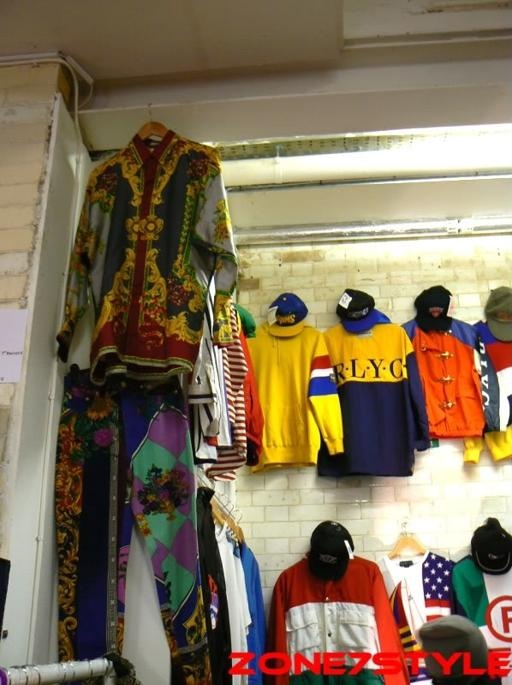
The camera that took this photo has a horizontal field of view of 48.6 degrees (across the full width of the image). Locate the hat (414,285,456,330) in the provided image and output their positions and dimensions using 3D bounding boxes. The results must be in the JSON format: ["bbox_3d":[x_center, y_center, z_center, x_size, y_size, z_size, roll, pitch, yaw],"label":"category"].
[{"bbox_3d":[1.145,-0.203,3.690,0.207,0.305,0.164,0,-39,14],"label":"hat"}]

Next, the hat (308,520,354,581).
[{"bbox_3d":[0.411,1.189,3.189,0.230,0.315,0.134,7,-37,6],"label":"hat"}]

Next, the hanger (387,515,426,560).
[{"bbox_3d":[0.911,1.203,3.450,0.199,0.133,0.016,-17,-8,3],"label":"hanger"}]

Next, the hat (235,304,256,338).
[{"bbox_3d":[-0.057,-0.113,3.205,0.063,0.133,0.171,-19,-63,7],"label":"hat"}]
